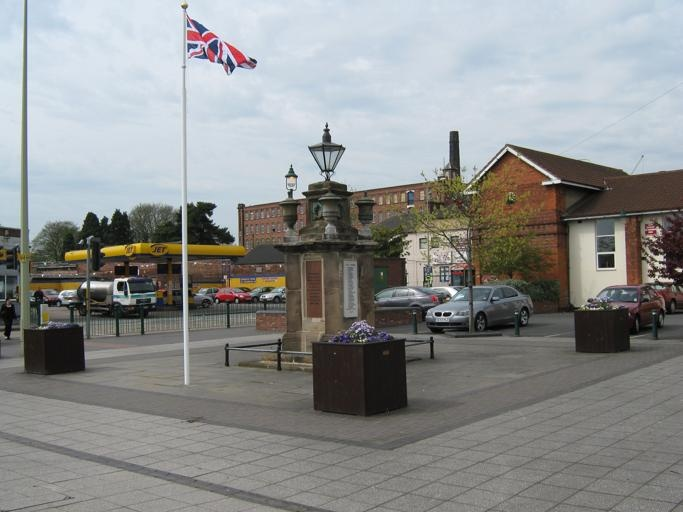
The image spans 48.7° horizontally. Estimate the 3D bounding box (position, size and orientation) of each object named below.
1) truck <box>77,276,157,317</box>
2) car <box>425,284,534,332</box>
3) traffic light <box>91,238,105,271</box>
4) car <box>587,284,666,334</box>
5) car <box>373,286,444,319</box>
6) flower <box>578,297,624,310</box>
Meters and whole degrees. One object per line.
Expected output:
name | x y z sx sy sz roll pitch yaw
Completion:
truck | -12.792 2.323 43.677 4.530 2.186 1.564 -4 -4 28
car | 5.032 1.871 26.853 1.586 1.198 3.779 -5 -6 43
traffic light | -8.573 -0.002 26.388 0.455 1.144 2.788 -1 -4 -18
car | 9.803 1.725 24.735 3.430 1.561 1.806 -1 -4 -18
car | 2.857 2.056 32.759 2.916 1.041 1.374 2 0 28
flower | 7.890 1.433 22.768 1.176 0.483 1.581 0 -3 -26
